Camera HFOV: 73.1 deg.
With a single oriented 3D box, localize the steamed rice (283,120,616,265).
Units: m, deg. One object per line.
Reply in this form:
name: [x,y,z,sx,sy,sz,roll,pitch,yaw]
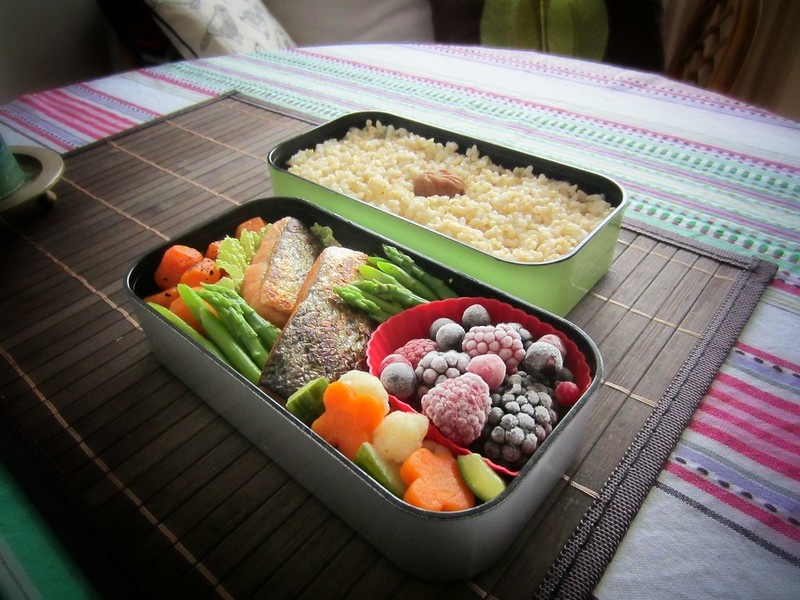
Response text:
steamed rice: [0.103,-0.389,1.870,1.090,0.135,0.477,18,42,24]
